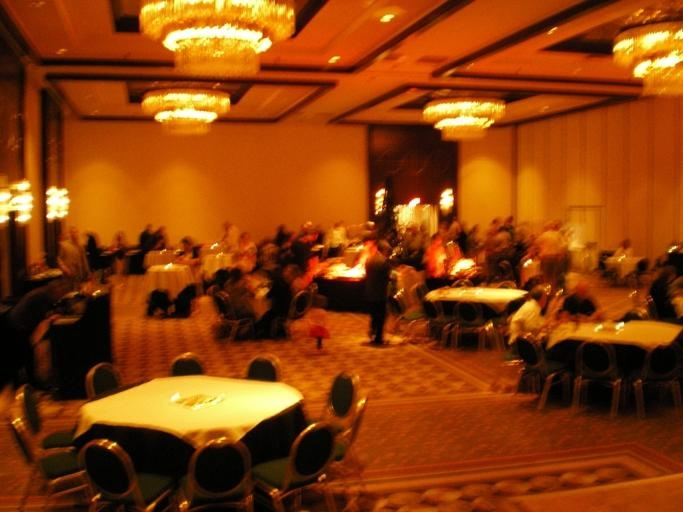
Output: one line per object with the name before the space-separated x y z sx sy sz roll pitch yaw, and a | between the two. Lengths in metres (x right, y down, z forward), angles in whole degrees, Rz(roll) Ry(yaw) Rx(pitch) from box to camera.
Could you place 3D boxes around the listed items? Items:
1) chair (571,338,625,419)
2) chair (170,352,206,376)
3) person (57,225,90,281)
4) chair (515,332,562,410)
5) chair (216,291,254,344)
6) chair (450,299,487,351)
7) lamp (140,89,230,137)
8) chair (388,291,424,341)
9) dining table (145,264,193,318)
chair | 2.904 1.356 6.082 0.470 0.817 0.221 2 9 23
chair | -1.602 1.091 5.501 0.255 0.146 0.411 -2 2 -22
person | -5.041 -0.028 10.061 0.438 0.998 0.621 1 8 13
chair | 2.386 1.334 6.411 0.620 0.832 0.610 -4 5 -14
chair | -1.990 1.026 9.339 0.791 0.903 0.609 4 9 30
chair | 2.153 1.143 8.944 0.679 0.890 0.691 1 -2 -2
lamp | -3.647 -3.078 11.888 1.914 0.685 1.948 -2 4 30
chair | 1.179 0.979 9.753 0.598 0.880 1.421 0 8 5
dining table | -3.684 0.713 11.587 1.051 0.994 1.034 1 4 -9
